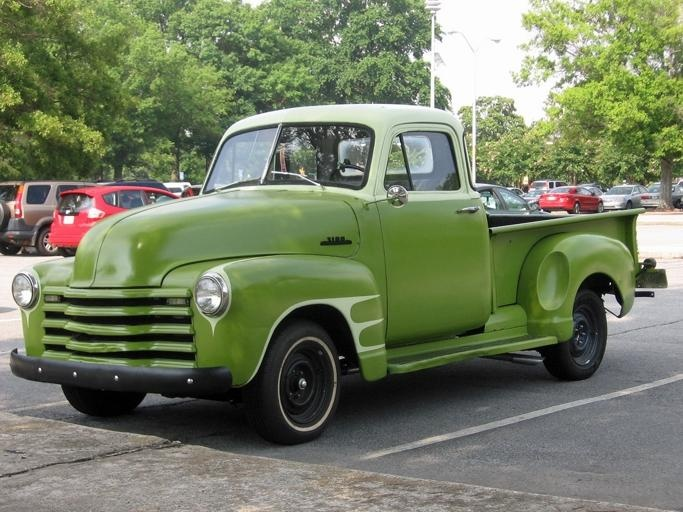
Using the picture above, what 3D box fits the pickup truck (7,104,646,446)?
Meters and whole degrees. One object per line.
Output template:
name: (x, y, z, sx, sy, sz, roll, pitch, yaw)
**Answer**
pickup truck: (0.335, 0.051, 6.533, 5.589, 1.984, 2.852, 0, -3, -44)
